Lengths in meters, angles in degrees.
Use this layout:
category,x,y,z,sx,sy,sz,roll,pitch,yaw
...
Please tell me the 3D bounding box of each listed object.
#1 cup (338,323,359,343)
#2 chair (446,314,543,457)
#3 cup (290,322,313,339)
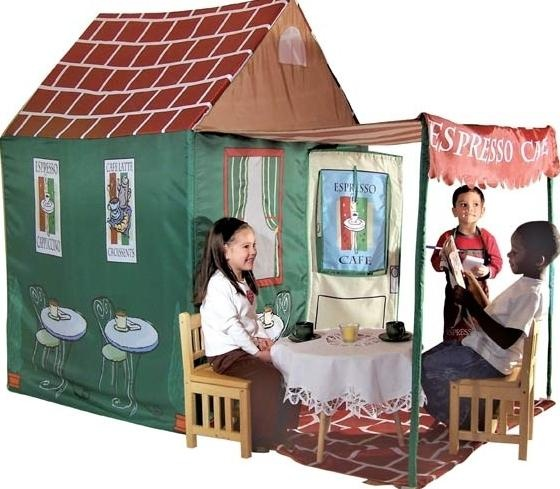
category,x,y,z,sx,sy,sz,roll,pitch,yaw
cup,0.456,0.587,4.591,0.115,0.099,0.110,1,-2,0
chair,1.467,0.925,4.715,0.547,0.925,0.623,8,7,22
cup,0.159,0.569,4.661,0.121,0.087,0.096,0,7,6
